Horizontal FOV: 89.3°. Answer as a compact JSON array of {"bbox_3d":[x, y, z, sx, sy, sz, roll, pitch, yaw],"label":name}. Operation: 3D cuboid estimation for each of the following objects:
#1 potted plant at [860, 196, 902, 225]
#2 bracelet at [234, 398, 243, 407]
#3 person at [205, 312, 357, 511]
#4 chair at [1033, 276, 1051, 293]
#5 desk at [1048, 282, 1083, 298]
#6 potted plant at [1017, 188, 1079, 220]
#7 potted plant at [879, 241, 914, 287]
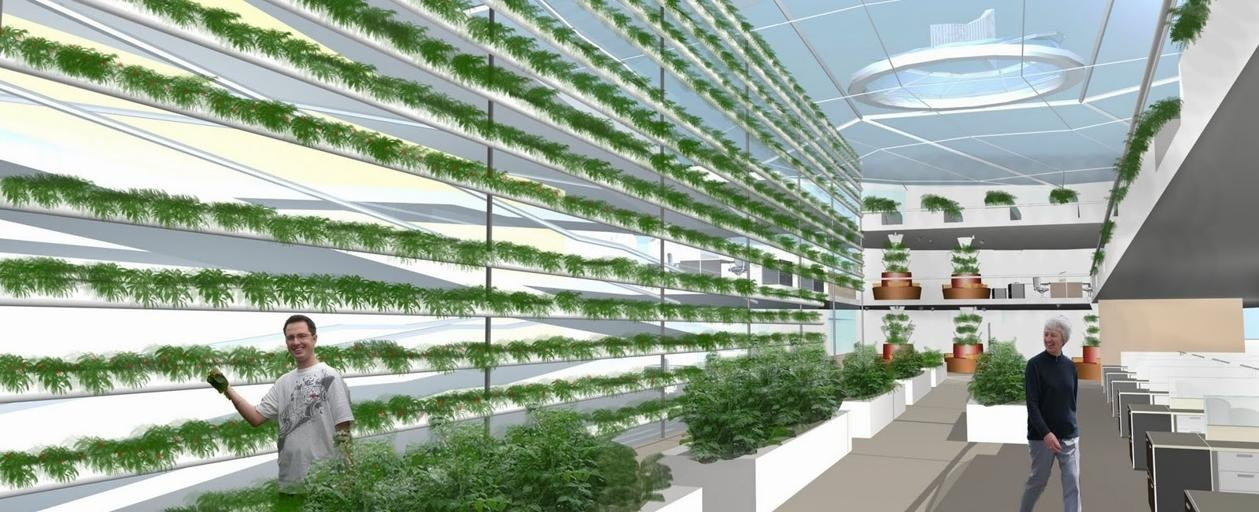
[{"bbox_3d":[13.021,-2.430,33.005,2.501,1.618,1.597,1,-20,6],"label":"potted plant"},{"bbox_3d":[-6.368,2.386,10.490,0.118,0.062,0.106,0,-2,-34],"label":"bracelet"},{"bbox_3d":[-5.513,2.564,10.552,1.725,3.190,0.574,-7,-8,7],"label":"person"},{"bbox_3d":[21.309,1.487,33.168,0.742,0.814,0.443,-9,-9,24],"label":"chair"},{"bbox_3d":[22.159,1.691,32.447,1.765,0.695,0.985,-4,-14,25],"label":"desk"},{"bbox_3d":[20.193,-2.355,31.064,2.710,0.802,2.376,1,-6,-26],"label":"potted plant"},{"bbox_3d":[13.461,0.428,32.587,1.372,2.347,2.276,-9,-9,19],"label":"potted plant"}]
